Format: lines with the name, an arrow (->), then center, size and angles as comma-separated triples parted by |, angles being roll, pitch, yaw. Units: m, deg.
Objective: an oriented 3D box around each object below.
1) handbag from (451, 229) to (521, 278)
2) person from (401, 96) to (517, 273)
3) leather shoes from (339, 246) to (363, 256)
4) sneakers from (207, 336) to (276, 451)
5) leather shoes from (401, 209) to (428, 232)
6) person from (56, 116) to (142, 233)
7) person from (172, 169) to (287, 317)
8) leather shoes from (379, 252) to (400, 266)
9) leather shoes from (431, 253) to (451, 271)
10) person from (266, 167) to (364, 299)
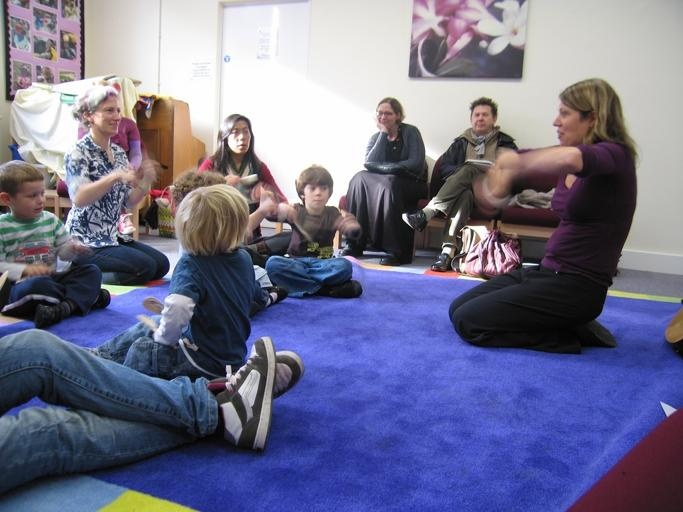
handbag -> 1.136, -0.084, 3.619 | 0.530, 0.325, 0.722 | 2, 12, 5
person -> 1.054, -0.666, 4.038 | 0.950, 1.597, 0.590 | 9, 0, -41
leather shoes -> 0.089, -0.040, 4.112 | 0.214, 0.102, 0.075 | 12, 5, -31
sneakers -> -0.288, 0.386, 1.299 | 0.155, 0.124, 0.367 | 33, 28, -19
leather shoes -> 0.617, -0.296, 3.790 | 0.113, 0.111, 0.262 | 45, 11, 16
person -> -1.963, -0.794, 4.097 | 0.639, 0.937, 0.569 | 13, 34, 28
person -> -0.512, -0.114, 2.419 | 0.662, 0.851, 0.568 | -10, 10, -21
leather shoes -> 0.408, 0.027, 3.822 | 0.192, 0.077, 0.087 | -8, -18, 16
leather shoes -> 0.800, 0.043, 3.614 | 0.130, 0.122, 0.238 | 10, 14, 31
person -> -0.168, -0.160, 2.773 | 0.541, 0.864, 0.644 | 4, -6, -34
